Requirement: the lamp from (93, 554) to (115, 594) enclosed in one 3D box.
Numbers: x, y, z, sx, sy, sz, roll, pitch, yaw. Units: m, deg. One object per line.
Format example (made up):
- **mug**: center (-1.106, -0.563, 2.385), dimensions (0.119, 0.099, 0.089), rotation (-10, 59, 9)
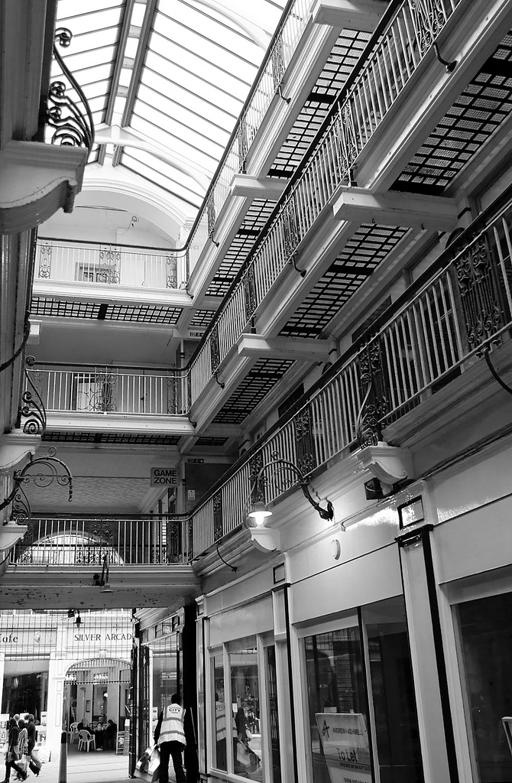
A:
- **lamp**: center (-2.987, 3.522, 11.689), dimensions (0.353, 0.564, 1.110), rotation (3, -26, -13)
